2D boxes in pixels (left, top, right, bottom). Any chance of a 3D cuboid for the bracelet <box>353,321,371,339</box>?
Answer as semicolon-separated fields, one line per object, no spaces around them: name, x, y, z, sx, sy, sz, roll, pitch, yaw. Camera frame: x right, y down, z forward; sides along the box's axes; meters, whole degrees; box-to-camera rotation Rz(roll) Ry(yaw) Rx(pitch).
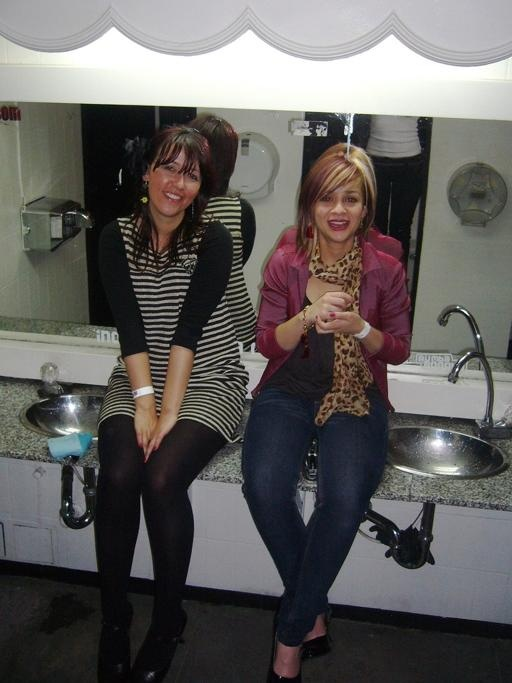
bracelet;0.231;-0.024;1.131;0.015;0.032;0.037;37;-4;-6

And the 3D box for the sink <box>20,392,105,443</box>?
sink;-0.544;0.235;1.445;0.212;0.080;0.271;1;18;-18

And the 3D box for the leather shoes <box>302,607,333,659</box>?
leather shoes;0.157;0.693;1.228;0.052;0.075;0.180;-3;-16;13

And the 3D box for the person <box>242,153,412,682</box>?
person;0.140;0.136;1.189;0.367;1.145;0.504;10;17;16

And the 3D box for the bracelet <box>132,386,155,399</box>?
bracelet;-0.259;0.120;1.189;0.044;0.026;0.035;1;18;-18
